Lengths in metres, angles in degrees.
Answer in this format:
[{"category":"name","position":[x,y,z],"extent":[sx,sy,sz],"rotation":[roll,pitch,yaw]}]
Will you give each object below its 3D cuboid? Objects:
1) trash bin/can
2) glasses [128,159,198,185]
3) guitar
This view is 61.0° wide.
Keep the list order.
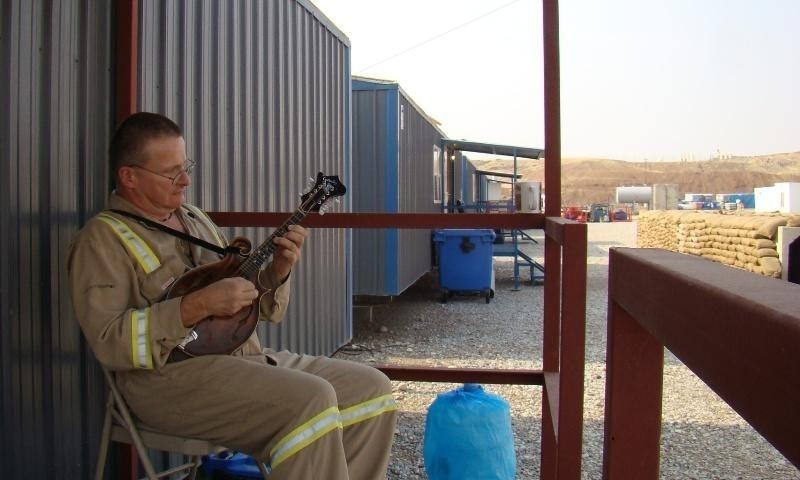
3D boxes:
[{"category":"trash bin/can","position":[0.955,0.395,9.987],"extent":[0.832,1.105,1.069],"rotation":[0,3,7]},{"category":"glasses","position":[-1.430,-0.419,4.135],"extent":[0.229,0.068,0.221],"rotation":[18,16,-3]},{"category":"guitar","position":[-0.774,0.038,4.236],"extent":[0.190,0.595,1.606],"rotation":[-13,34,54]}]
